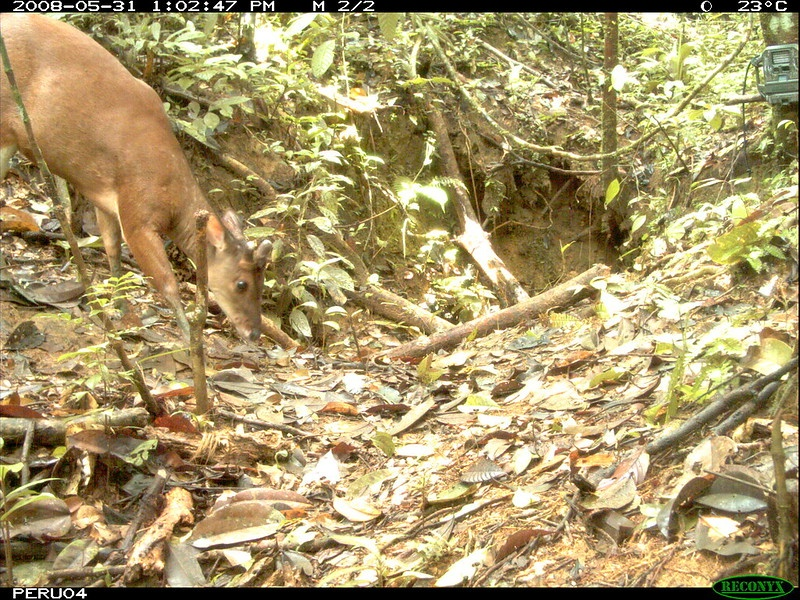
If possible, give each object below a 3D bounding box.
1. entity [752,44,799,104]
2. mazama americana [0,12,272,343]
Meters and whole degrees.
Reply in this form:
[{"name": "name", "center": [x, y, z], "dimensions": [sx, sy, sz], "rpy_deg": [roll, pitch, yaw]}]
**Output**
[{"name": "entity", "center": [1.454, -0.862, 2.802], "dimensions": [0.115, 0.212, 0.155], "rpy_deg": [-14, 13, -43]}, {"name": "mazama americana", "center": [-1.703, -0.717, 4.606], "dimensions": [1.479, 2.075, 0.629], "rpy_deg": [-6, 10, -9]}]
